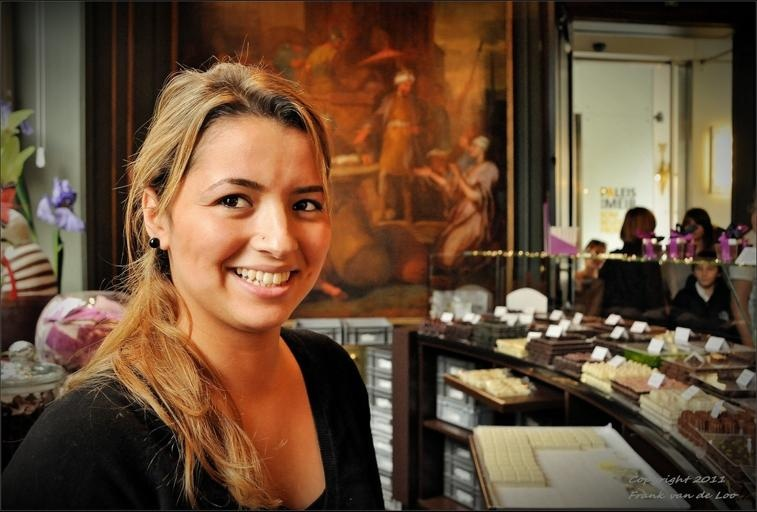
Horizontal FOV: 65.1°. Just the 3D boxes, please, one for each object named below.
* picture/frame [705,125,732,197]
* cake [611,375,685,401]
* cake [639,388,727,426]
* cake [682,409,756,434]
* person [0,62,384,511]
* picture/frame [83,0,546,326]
[{"bbox_3d":[1.868,-0.517,3.269,0.024,0.382,0.161,-9,9,-14],"label":"picture/frame"},{"bbox_3d":[1.397,0.691,3.158,0.189,0.053,0.185,0,-1,-28],"label":"cake"},{"bbox_3d":[1.563,0.769,3.181,0.209,0.096,0.294,0,-2,-10],"label":"cake"},{"bbox_3d":[1.785,0.875,3.124,0.262,0.062,0.169,-2,-4,10],"label":"cake"},{"bbox_3d":[-0.723,0.184,2.686,1.522,2.047,0.385,0,5,-13],"label":"person"},{"bbox_3d":[-0.407,-0.507,2.990,1.758,1.735,0.067,-1,2,-3],"label":"picture/frame"}]
